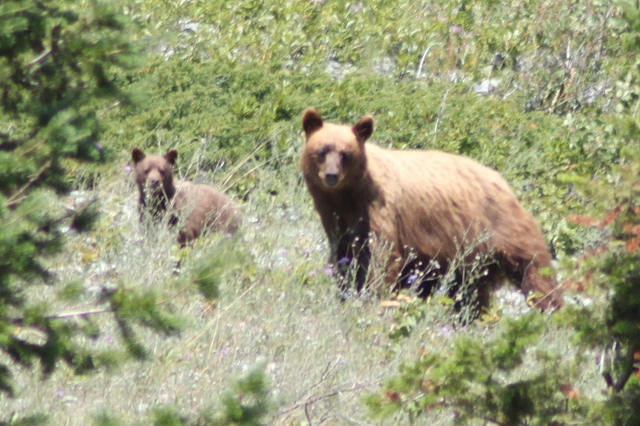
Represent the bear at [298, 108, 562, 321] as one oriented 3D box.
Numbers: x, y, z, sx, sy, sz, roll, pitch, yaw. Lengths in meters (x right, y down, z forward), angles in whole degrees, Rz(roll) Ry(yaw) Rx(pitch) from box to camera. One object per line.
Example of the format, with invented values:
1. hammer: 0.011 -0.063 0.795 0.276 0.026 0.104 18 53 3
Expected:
1. bear: 1.159 0.246 9.174 3.239 1.974 0.987 16 -15 -25
